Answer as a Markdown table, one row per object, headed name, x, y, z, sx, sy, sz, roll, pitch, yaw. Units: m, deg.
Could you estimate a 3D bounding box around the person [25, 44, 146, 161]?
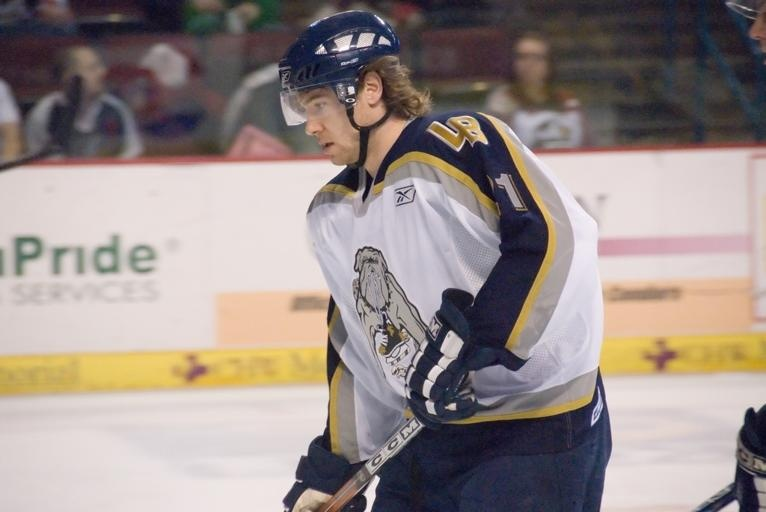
| name | x | y | z | sx | sy | sz | roll | pitch | yaw |
| --- | --- | --- | --- | --- | --- | --- | --- | --- | --- |
| person | -1.959 | -0.973 | 12.001 | 0.824 | 0.684 | 0.429 | 1 | -9 | -27 |
